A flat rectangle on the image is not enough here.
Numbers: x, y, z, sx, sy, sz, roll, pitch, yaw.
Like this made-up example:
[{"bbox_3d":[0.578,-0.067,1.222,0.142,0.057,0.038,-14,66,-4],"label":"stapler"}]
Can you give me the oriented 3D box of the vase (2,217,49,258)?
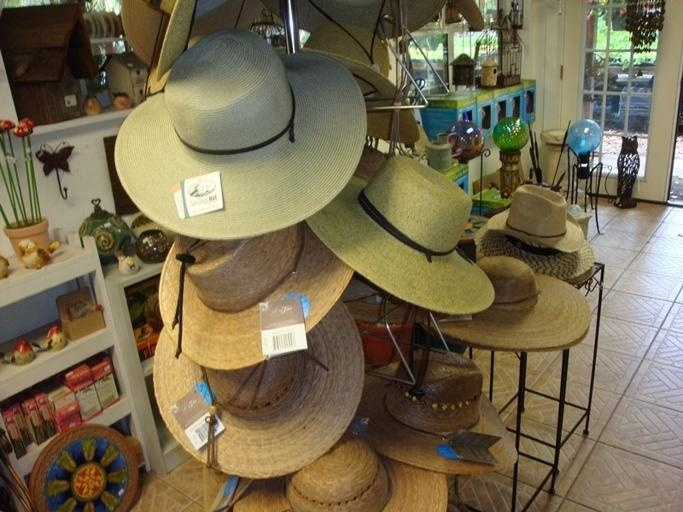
[{"bbox_3d":[-1.523,-0.116,2.804,0.173,0.153,0.191,5,22,17],"label":"vase"}]
